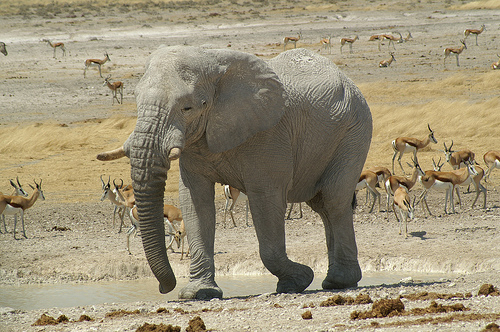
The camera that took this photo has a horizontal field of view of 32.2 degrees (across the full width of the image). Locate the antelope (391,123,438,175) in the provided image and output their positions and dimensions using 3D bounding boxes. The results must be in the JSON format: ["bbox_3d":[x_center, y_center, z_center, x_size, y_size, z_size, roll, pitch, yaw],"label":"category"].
[{"bbox_3d":[6.831,-0.744,36.344,2.231,2.528,1.304,3,-3,13],"label":"antelope"}]

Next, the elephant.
[{"bbox_3d":[-0.072,0.358,24.034,8.313,6.593,4.745,-2,4,-30],"label":"elephant"}]

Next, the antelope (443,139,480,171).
[{"bbox_3d":[8.347,-0.380,34.369,0.963,1.251,1.432,2,2,4],"label":"antelope"}]

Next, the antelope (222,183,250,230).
[{"bbox_3d":[-0.584,1.377,31.409,1.428,1.781,0.855,3,-5,28],"label":"antelope"}]

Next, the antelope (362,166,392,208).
[{"bbox_3d":[4.258,0.386,32.347,2.027,1.053,0.612,0,7,-4],"label":"antelope"}]

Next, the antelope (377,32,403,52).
[{"bbox_3d":[9.126,-7.932,55.750,1.544,0.900,3.864,0,12,11],"label":"antelope"}]

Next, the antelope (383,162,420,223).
[{"bbox_3d":[5.597,0.843,31.009,1.384,1.781,0.576,-3,0,-11],"label":"antelope"}]
